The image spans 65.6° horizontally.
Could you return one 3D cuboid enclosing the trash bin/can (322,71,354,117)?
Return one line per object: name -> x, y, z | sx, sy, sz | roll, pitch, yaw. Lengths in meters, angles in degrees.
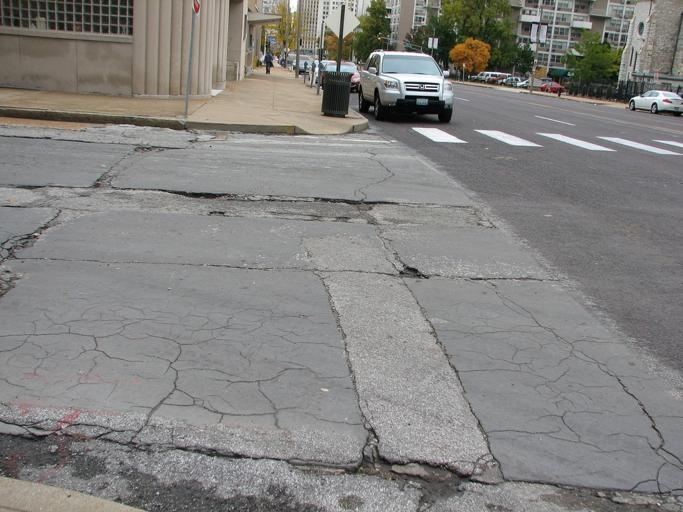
trash bin/can -> -0.184, -5.267, 17.247 | 0.869, 1.408, 0.643 | 3, 21, -2
